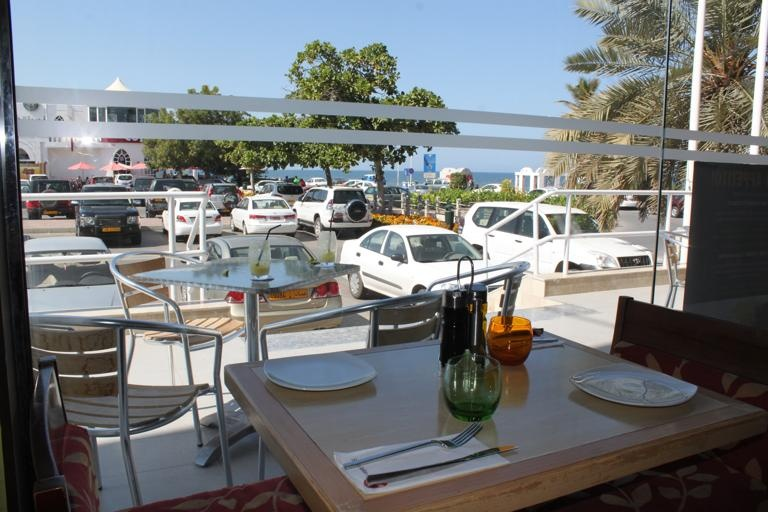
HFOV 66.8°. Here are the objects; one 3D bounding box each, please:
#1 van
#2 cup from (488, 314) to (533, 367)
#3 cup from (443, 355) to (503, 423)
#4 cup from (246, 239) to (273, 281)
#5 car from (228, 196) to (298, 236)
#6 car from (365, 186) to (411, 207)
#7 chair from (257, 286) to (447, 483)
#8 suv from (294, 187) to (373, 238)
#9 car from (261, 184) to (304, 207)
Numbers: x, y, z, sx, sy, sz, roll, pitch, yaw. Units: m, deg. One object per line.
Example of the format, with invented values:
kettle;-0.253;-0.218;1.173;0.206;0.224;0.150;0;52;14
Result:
van;2.122;-0.241;7.810;1.131;1.068;2.597;-3;5;-36
cup;0.409;0.263;1.939;0.164;0.161;0.157;0;1;0
cup;0.243;0.361;1.659;0.156;0.137;0.167;-5;15;1
cup;-0.622;0.018;3.034;0.168;0.271;0.177;0;6;0
car;-2.641;-0.916;13.034;1.391;1.005;3.065;-3;13;-19
car;-0.026;-2.689;28.035;2.884;1.003;1.289;-10;13;-34
chair;-0.275;0.378;2.644;0.823;0.931;0.673;-8;25;-23
suv;-1.364;-1.259;14.765;1.225;1.117;2.628;-4;14;-24
car;-3.631;-2.056;21.046;1.061;0.908;2.160;-4;19;-23
